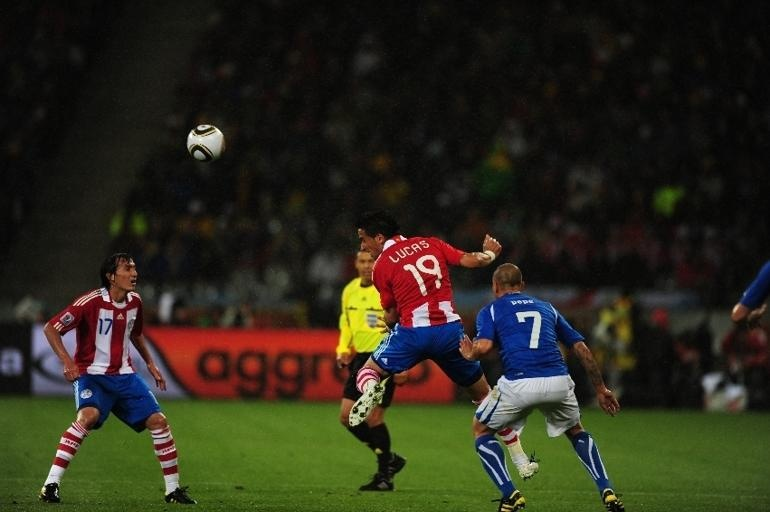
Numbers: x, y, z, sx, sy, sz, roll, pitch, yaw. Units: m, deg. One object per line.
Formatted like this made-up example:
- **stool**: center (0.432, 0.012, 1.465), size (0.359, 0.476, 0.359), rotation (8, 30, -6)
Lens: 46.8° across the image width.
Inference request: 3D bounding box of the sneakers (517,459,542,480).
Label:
- **sneakers**: center (1.846, 2.817, 11.534), size (0.234, 0.160, 0.322), rotation (-11, -17, -35)

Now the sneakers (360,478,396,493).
- **sneakers**: center (-0.096, 3.195, 12.366), size (0.355, 0.155, 0.202), rotation (6, -9, 1)
